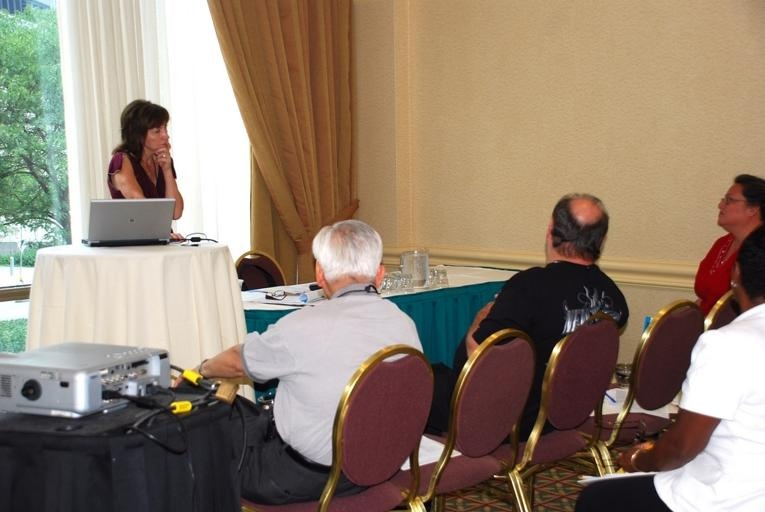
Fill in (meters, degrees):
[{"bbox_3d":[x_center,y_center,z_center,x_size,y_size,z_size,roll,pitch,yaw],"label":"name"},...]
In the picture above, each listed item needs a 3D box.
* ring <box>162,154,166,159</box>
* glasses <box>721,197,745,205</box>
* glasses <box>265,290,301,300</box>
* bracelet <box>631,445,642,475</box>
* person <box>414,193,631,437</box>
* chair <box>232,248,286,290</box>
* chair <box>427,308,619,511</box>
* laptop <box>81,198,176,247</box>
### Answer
[{"bbox_3d":[-1.414,-0.636,3.734,0.021,0.022,0.005,7,0,18],"label":"ring"},{"bbox_3d":[2.103,-0.327,3.493,0.048,0.046,0.145,-3,7,-18],"label":"glasses"},{"bbox_3d":[-0.616,0.242,3.527,0.144,0.036,0.080,-3,2,-1],"label":"glasses"},{"bbox_3d":[0.867,0.697,1.997,0.027,0.074,0.085,-1,18,14],"label":"bracelet"},{"bbox_3d":[0.618,0.382,2.942,0.709,1.385,1.044,-2,10,-36],"label":"person"},{"bbox_3d":[-0.924,0.095,4.258,0.297,0.367,0.286,-9,9,-36],"label":"chair"},{"bbox_3d":[0.775,0.620,2.856,0.762,1.087,0.782,-8,12,-41],"label":"chair"},{"bbox_3d":[-1.399,-0.207,3.150,0.420,0.255,0.356,-5,16,-39],"label":"laptop"}]
